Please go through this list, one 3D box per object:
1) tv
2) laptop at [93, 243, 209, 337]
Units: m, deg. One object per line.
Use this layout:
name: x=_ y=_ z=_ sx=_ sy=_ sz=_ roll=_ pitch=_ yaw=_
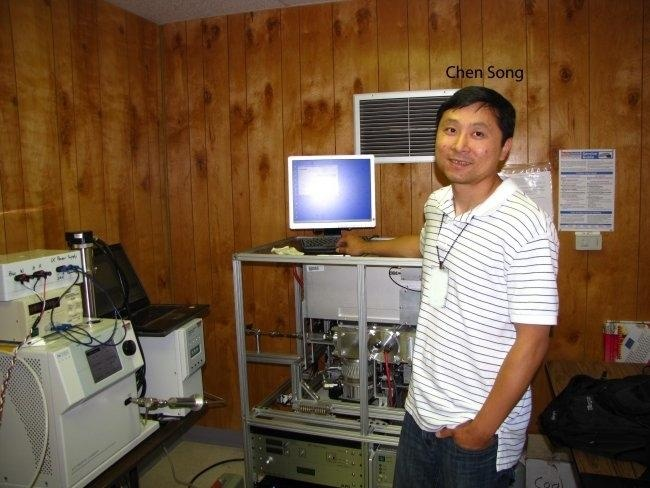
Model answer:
tv: x=0.047 y=-0.306 z=3.207 sx=0.460 sy=0.431 sz=0.043 roll=0 pitch=0 yaw=1
laptop: x=-1.025 y=0.229 z=3.072 sx=0.474 sy=0.430 sz=0.584 roll=3 pitch=5 yaw=6
